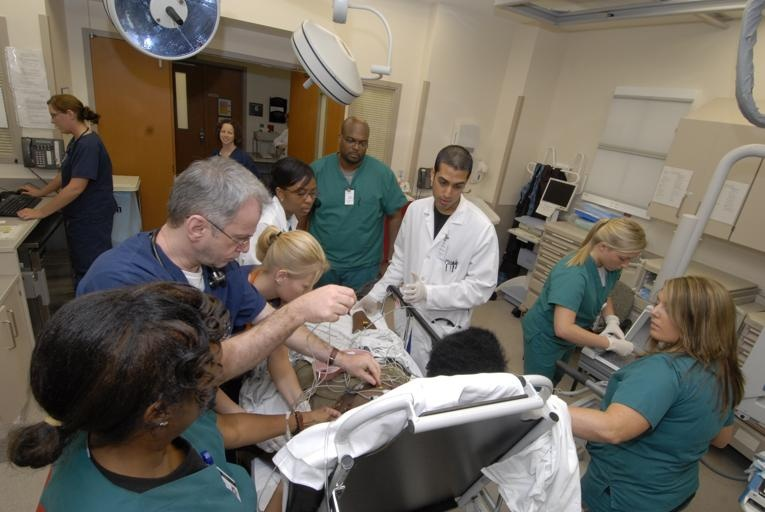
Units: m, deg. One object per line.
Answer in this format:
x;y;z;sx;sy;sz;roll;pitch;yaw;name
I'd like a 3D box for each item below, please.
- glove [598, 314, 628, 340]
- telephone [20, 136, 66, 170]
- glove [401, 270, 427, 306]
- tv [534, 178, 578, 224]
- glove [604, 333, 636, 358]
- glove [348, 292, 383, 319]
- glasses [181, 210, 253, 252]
1.644;0.517;3.550;0.165;0.070;0.202;8;66;3;glove
-3.020;-0.915;4.381;0.268;0.283;0.068;1;12;-19;telephone
0.188;0.219;3.345;0.124;0.223;0.218;-6;2;-24;glove
1.876;-0.592;5.314;0.167;0.426;0.325;5;34;-41;tv
1.561;0.584;3.262;0.176;0.059;0.134;9;30;-33;glove
-0.102;0.350;3.362;0.150;0.165;0.063;-28;20;-21;glove
-0.760;-0.120;2.351;0.187;0.058;0.183;44;-6;13;glasses
